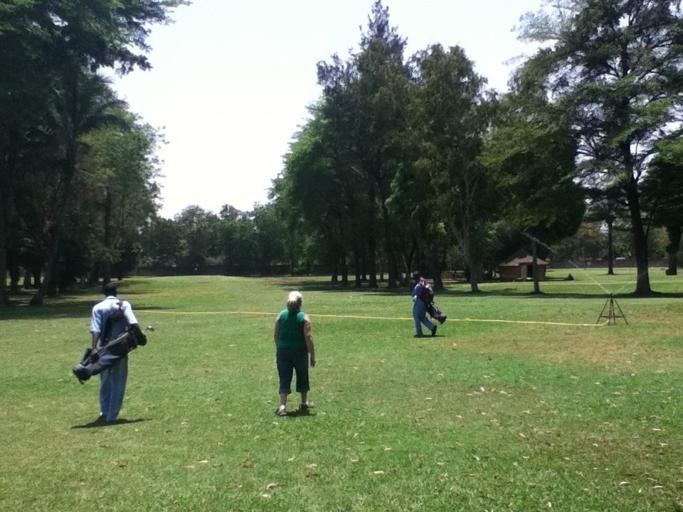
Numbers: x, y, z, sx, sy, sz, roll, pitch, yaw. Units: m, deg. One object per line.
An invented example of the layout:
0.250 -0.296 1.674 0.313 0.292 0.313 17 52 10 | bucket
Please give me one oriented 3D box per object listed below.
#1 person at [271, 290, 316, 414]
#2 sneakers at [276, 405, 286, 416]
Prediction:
-1.205 2.438 18.322 0.990 2.995 1.343 -1 10 -3 | person
-1.517 3.900 18.015 0.199 0.200 0.554 1 -6 -11 | sneakers
